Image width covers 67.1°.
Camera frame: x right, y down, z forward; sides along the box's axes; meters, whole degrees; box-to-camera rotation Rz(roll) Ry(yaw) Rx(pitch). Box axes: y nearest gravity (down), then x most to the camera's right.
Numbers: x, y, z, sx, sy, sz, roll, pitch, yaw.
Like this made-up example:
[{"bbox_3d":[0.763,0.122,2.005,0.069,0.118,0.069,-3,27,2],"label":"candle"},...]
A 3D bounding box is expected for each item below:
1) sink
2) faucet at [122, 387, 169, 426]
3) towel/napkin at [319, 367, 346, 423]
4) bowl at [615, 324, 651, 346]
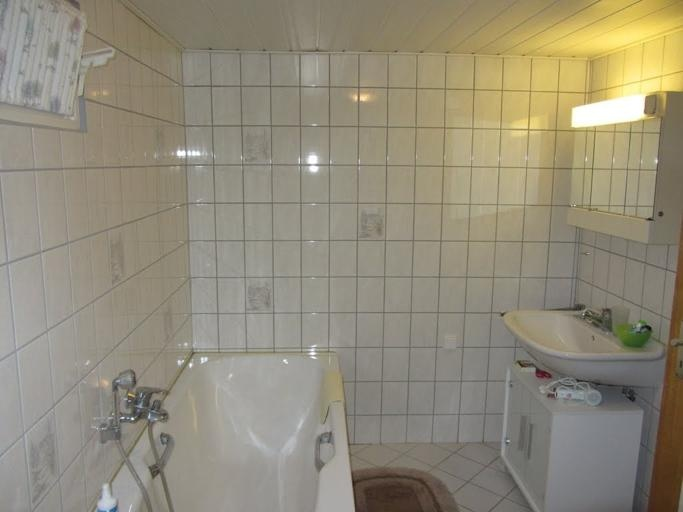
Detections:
[{"bbox_3d":[1.340,0.517,2.780,0.375,0.557,0.156,-1,-82,-1],"label":"sink"},{"bbox_3d":[-0.932,0.671,2.321,0.252,0.083,0.144,6,-91,-19],"label":"faucet"},{"bbox_3d":[-0.062,0.805,3.105,0.145,0.506,0.026,-3,-75,0],"label":"towel/napkin"},{"bbox_3d":[1.546,0.402,2.725,0.124,0.131,0.077,-2,-86,-4],"label":"bowl"}]
